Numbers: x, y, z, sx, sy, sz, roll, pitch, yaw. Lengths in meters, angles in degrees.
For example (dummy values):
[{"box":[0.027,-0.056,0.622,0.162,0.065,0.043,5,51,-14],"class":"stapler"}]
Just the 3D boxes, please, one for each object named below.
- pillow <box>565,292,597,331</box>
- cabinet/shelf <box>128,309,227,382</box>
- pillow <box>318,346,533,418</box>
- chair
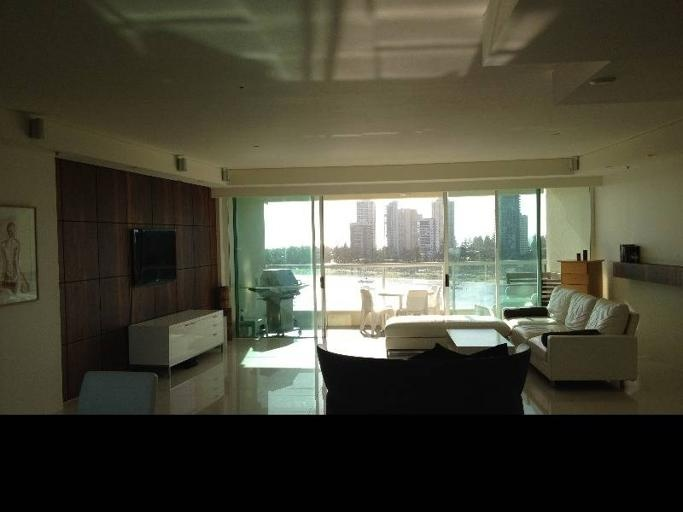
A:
[{"box":[2.780,0.658,6.343,0.108,0.383,0.367,17,11,-5],"class":"pillow"},{"box":[-1.922,0.950,6.435,0.476,0.503,1.273,-4,-1,20],"class":"cabinet/shelf"},{"box":[0.308,0.501,2.121,0.838,0.252,0.335,-5,-1,17],"class":"pillow"},{"box":[0.791,0.824,8.307,0.845,0.587,0.849,1,-3,-35],"class":"chair"}]
